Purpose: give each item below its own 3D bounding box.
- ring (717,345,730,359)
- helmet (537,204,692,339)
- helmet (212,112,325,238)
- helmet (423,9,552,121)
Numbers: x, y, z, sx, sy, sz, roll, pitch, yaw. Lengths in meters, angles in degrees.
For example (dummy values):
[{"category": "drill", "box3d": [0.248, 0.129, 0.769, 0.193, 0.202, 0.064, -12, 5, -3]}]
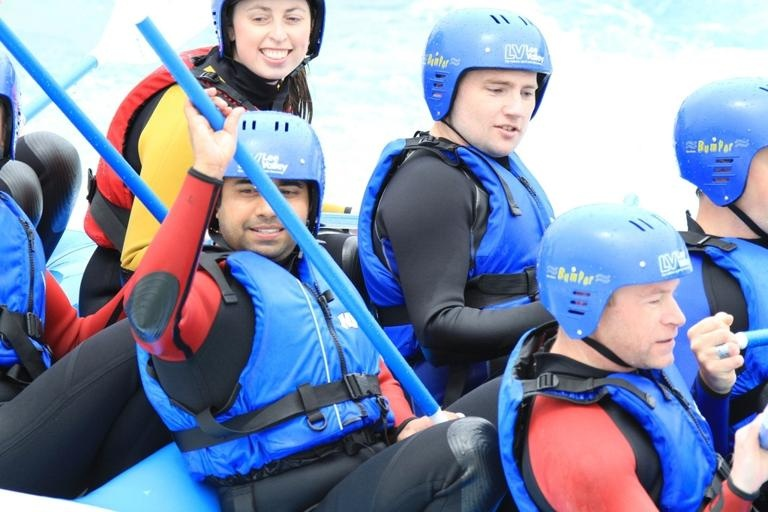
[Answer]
[{"category": "ring", "box3d": [1.083, 0.307, 2.338, 0.032, 0.044, 0.033, -1, 13, 0]}, {"category": "helmet", "box3d": [0.732, 0.044, 2.329, 0.497, 0.379, 0.379, 6, 16, 41]}, {"category": "helmet", "box3d": [-0.412, -0.305, 2.766, 0.364, 0.417, 0.465, 6, 14, 8]}, {"category": "helmet", "box3d": [0.421, -0.827, 3.195, 0.520, 0.395, 0.413, 6, 4, 39]}]
